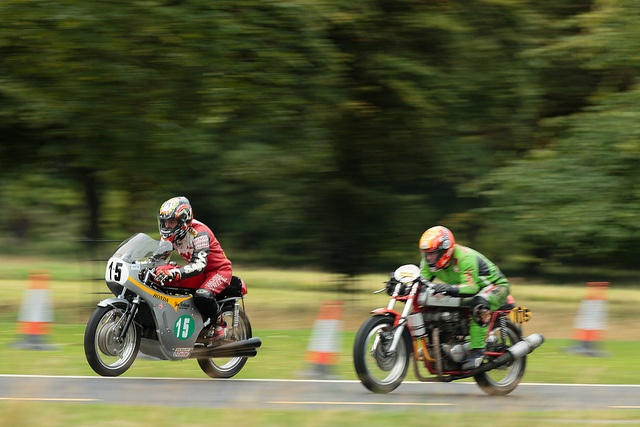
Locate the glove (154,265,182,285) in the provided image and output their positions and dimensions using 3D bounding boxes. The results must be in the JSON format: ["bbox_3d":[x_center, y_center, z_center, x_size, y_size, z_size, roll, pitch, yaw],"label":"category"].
[{"bbox_3d":[-2.298,0.934,12.712,0.389,0.262,0.161,3,3,-11],"label":"glove"}]

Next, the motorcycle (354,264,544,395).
[{"bbox_3d":[1.735,1.710,12.446,2.752,1.845,0.515,2,5,-15],"label":"motorcycle"}]
